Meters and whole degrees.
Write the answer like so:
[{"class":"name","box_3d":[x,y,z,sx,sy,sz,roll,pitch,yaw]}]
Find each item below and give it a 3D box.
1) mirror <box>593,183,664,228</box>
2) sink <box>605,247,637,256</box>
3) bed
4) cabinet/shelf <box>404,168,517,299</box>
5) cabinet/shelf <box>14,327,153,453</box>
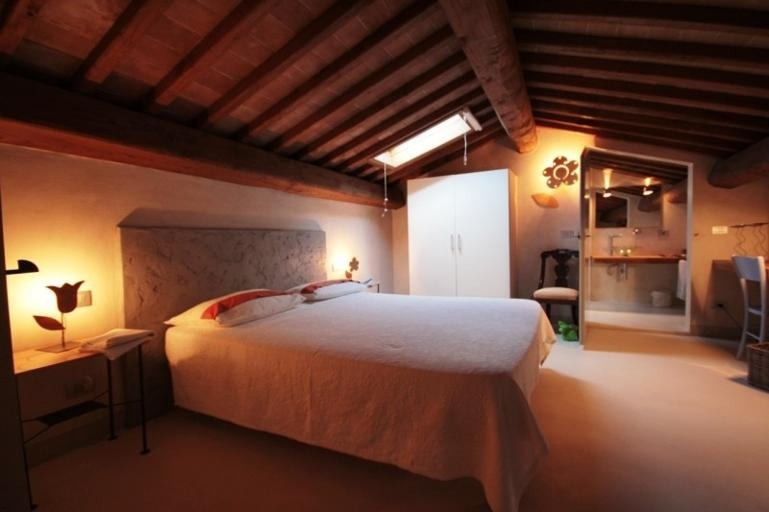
[{"class":"mirror","box_3d":[3.507,-0.621,7.407,1.037,0.697,0.555,2,6,25]},{"class":"sink","box_3d":[3.370,-0.050,7.264,0.256,0.128,0.175,2,-1,32]},{"class":"bed","box_3d":[-0.299,0.833,4.253,2.690,1.293,2.273,1,4,23]},{"class":"cabinet/shelf","box_3d":[0.976,-0.225,6.678,1.212,1.725,0.573,4,28,18]},{"class":"cabinet/shelf","box_3d":[-2.271,1.008,3.823,0.503,0.673,0.983,2,3,26]}]
